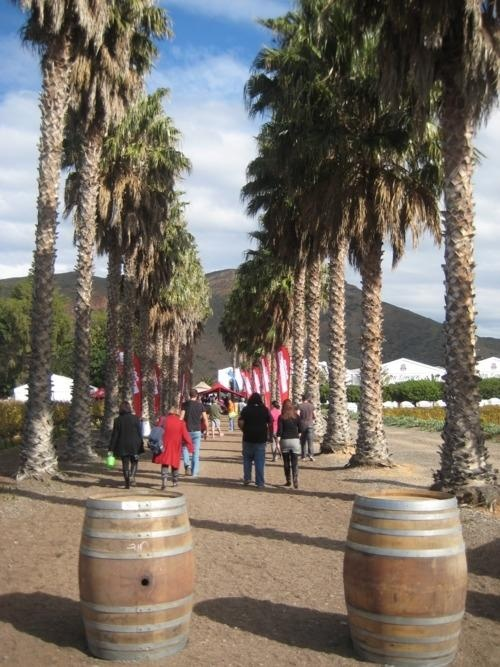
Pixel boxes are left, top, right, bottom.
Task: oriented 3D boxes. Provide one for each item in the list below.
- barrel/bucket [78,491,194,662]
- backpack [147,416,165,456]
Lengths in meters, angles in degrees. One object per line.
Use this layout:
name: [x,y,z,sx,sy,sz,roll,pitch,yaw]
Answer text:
barrel/bucket: [-0.789,1.669,5.383,0.843,1.361,0.883,0,-5,0]
backpack: [-1.578,1.770,12.579,0.246,0.668,0.641,1,-4,-6]
